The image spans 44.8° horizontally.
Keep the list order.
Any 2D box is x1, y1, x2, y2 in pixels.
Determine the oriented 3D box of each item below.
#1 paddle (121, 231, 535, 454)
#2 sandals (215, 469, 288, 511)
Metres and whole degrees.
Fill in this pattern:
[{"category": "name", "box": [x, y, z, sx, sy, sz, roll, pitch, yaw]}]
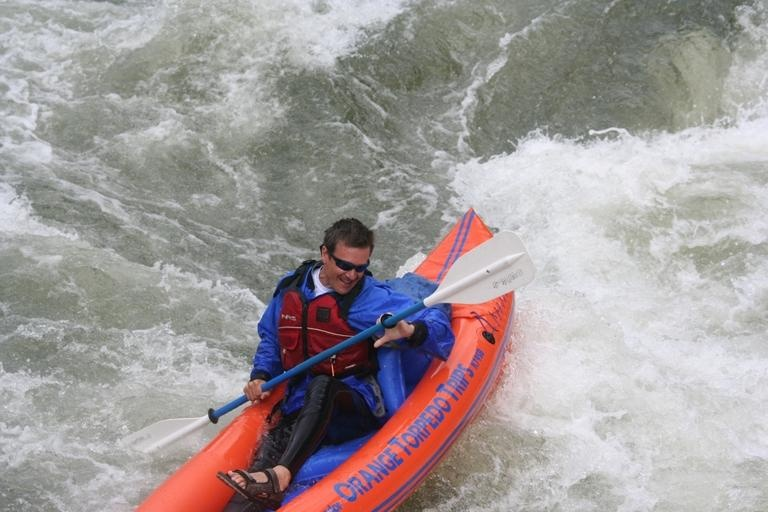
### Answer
[{"category": "paddle", "box": [-0.489, 0.909, 8.791, 4.658, 0.346, 0.683, -24, 89, 2]}, {"category": "sandals", "box": [-1.070, 1.959, 7.898, 0.645, 0.243, 0.284, 38, 82, -32]}]
